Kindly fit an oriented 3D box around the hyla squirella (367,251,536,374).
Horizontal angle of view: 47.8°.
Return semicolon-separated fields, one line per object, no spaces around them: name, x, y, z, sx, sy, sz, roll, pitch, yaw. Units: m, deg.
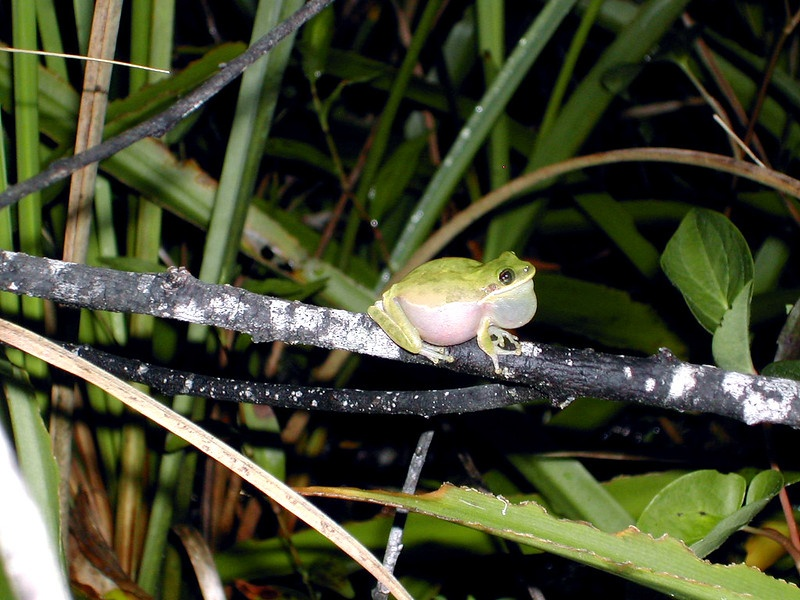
hyla squirella;0.111;0.012;1.796;0.313;0.218;0.234;-1;23;7
